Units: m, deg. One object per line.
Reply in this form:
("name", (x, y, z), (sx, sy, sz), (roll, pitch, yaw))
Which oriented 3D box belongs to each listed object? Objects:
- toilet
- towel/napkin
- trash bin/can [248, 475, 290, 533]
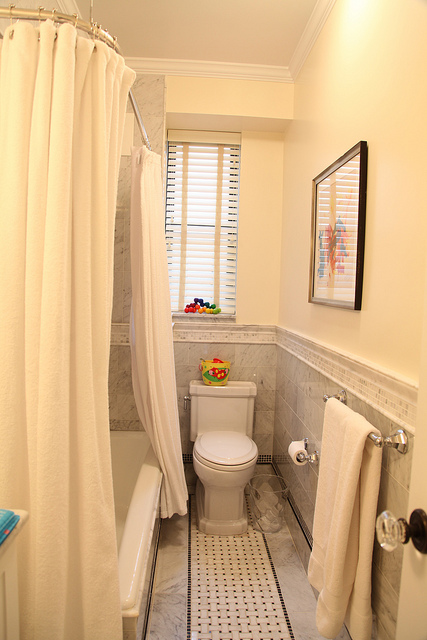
("toilet", (0.061, 0.764, 2.437), (0.399, 0.728, 0.630), (1, 2, -4))
("towel/napkin", (0.391, 0.603, 1.352), (0.165, 0.639, 0.382), (1, 2, -3))
("trash bin/can", (0.297, 1.000, 2.422), (0.193, 0.293, 0.216), (0, 2, -15))
